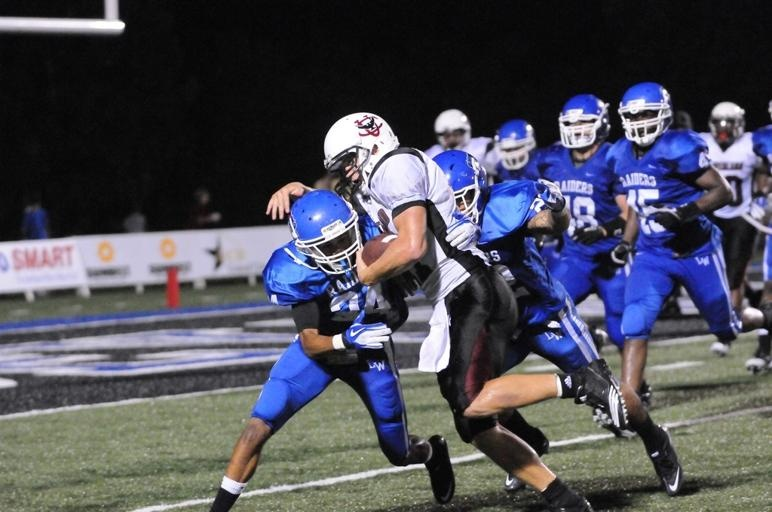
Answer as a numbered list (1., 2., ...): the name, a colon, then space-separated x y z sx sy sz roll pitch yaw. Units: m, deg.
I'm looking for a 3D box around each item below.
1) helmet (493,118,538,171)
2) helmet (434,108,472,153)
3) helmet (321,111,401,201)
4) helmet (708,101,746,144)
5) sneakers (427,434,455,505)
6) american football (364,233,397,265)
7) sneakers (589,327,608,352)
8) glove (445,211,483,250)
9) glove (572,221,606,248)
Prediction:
1. helmet: 1.402 -1.262 11.346 0.435 0.474 0.580 -12 28 31
2. helmet: 0.861 -1.649 13.096 0.464 0.511 0.564 -7 3 5
3. helmet: -0.256 -0.778 7.754 0.648 0.574 0.495 -23 -10 -13
4. helmet: 4.117 -1.610 12.119 0.418 0.560 0.551 -4 0 12
5. sneakers: 0.446 1.688 7.851 0.186 0.522 0.211 -10 -2 27
6. american football: -0.056 -0.064 7.460 0.250 0.144 0.190 -49 2 8
7. sneakers: 2.258 0.900 10.720 0.202 0.248 0.434 -10 -14 10
8. glove: 0.577 -0.159 7.553 0.210 0.285 0.130 13 -17 -10
9. glove: 1.965 -0.211 9.633 0.246 0.180 0.078 -6 -30 5
